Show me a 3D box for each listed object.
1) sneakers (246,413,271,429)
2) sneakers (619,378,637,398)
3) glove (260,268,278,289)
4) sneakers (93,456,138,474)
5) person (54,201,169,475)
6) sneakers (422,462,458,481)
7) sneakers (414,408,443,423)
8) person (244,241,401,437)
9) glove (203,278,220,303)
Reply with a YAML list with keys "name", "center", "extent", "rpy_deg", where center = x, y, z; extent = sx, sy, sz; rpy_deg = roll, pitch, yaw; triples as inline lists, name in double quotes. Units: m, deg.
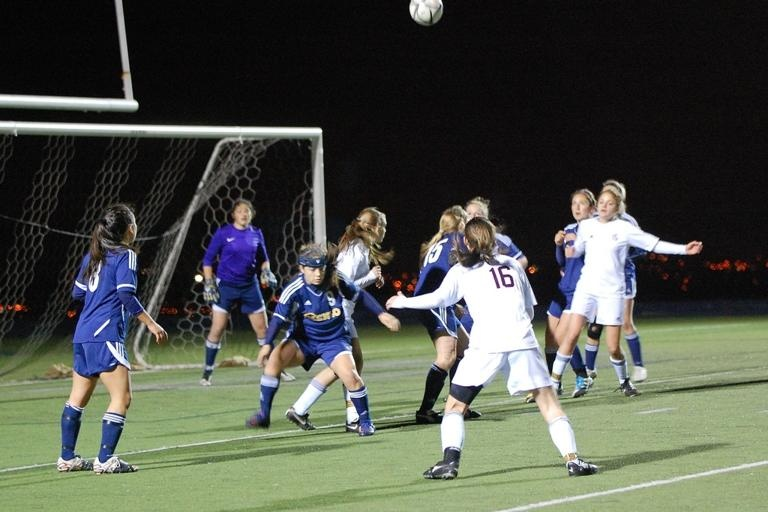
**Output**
- name: "sneakers"
  center: [-1.293, 1.725, 7.337]
  extent: [0.248, 0.170, 0.137]
  rpy_deg: [-5, 3, -3]
- name: "sneakers"
  center: [2.973, 1.623, 8.579]
  extent: [0.298, 0.209, 0.112]
  rpy_deg: [0, 2, 39]
- name: "glove"
  center: [-1.782, 0.368, 11.131]
  extent: [0.235, 0.147, 0.325]
  rpy_deg: [20, -7, 14]
- name: "sneakers"
  center: [-2.309, 1.786, 6.117]
  extent: [0.413, 0.168, 0.153]
  rpy_deg: [0, -1, -11]
- name: "person"
  center: [-2.385, 0.712, 6.110]
  extent: [0.867, 2.365, 0.449]
  rpy_deg: [-1, -5, 32]
- name: "sneakers"
  center: [0.455, 1.720, 5.577]
  extent: [0.323, 0.147, 0.122]
  rpy_deg: [-13, -35, 34]
- name: "sneakers"
  center: [0.477, 1.751, 7.686]
  extent: [0.355, 0.143, 0.122]
  rpy_deg: [-2, 3, -3]
- name: "person"
  center: [-0.695, 0.858, 7.127]
  extent: [1.221, 1.910, 0.636]
  rpy_deg: [2, -5, -1]
- name: "glove"
  center: [-2.623, 0.537, 10.523]
  extent: [0.089, 0.332, 0.251]
  rpy_deg: [-2, 4, 29]
